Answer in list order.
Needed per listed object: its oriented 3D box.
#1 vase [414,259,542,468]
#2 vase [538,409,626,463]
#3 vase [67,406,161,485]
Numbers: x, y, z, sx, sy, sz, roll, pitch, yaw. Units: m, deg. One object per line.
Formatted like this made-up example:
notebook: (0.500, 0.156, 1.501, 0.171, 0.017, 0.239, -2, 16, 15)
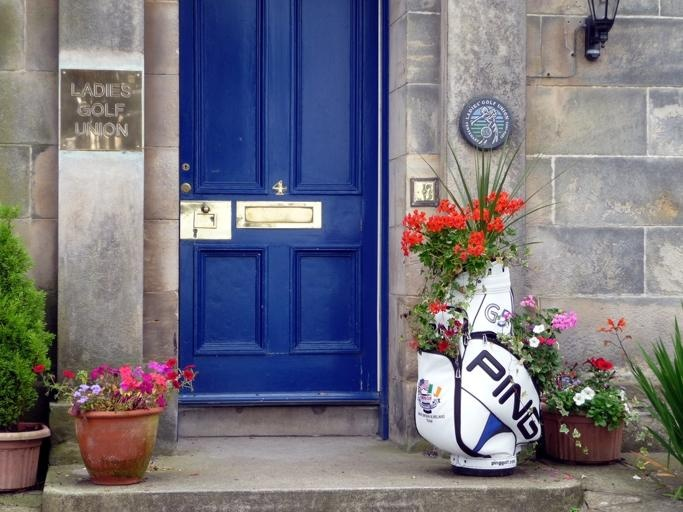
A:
vase: (0.800, 0.644, 5.084, 0.690, 1.151, 0.837, 0, -5, 16)
vase: (1.404, 1.083, 5.228, 0.336, 0.218, 0.347, 0, -5, 1)
vase: (-1.219, 0.995, 4.740, 0.402, 0.316, 0.413, -6, -9, 39)
